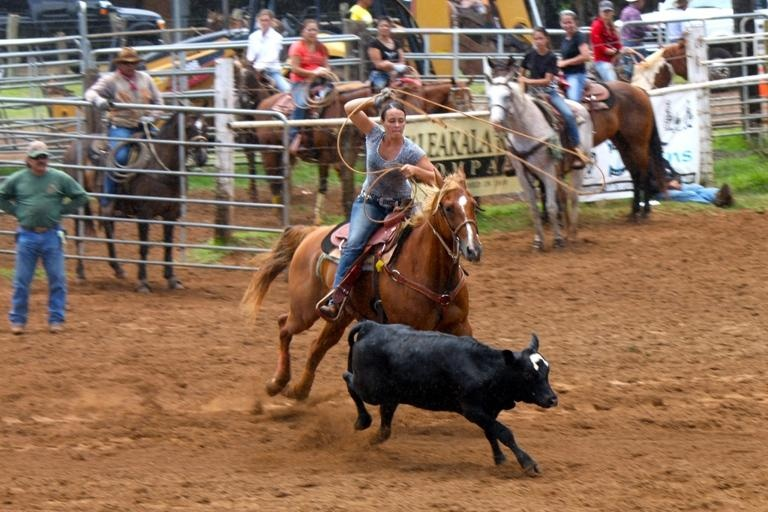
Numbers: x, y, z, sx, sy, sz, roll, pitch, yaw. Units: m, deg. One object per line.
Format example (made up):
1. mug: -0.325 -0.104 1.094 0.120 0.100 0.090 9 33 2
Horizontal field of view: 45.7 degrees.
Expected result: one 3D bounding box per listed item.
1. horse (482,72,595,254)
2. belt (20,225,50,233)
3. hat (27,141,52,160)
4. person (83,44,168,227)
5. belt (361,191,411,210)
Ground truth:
1. horse: 2.663 -1.645 15.646 1.583 3.053 2.393 -3 4 17
2. belt: -4.740 -0.374 12.453 0.362 0.092 0.078 -3 4 -16
3. hat: -4.709 -1.435 12.420 0.368 0.197 0.453 0 4 -26
4. person: -4.004 -1.944 14.340 1.161 2.555 0.651 -6 5 -26
5. belt: 0.027 -0.671 10.708 0.274 0.334 0.075 -46 20 25
